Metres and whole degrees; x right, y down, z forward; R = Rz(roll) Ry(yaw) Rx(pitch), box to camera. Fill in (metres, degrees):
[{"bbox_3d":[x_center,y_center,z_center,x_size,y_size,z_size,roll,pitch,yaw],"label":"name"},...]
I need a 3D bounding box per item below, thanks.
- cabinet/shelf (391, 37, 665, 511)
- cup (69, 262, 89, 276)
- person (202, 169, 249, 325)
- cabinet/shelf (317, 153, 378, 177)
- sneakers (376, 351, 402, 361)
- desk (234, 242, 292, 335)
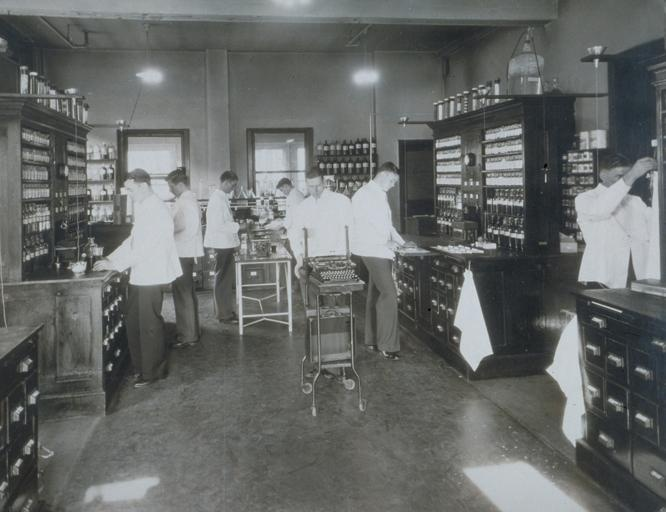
[{"bbox_3d":[1.942,-0.361,5.904,1.608,3.094,4.554,-4,14,-12],"label":"cabinet/shelf"},{"bbox_3d":[-2.284,0.111,5.594,0.131,0.125,0.153,0,-1,-4],"label":"cup"},{"bbox_3d":[-1.356,-0.099,7.799,0.432,1.862,0.417,-8,14,-31],"label":"person"},{"bbox_3d":[0.234,-1.514,10.418,0.736,0.321,0.257,0,2,-2],"label":"cabinet/shelf"},{"bbox_3d":[0.575,1.027,6.474,0.178,0.074,0.095,0,6,34],"label":"sneakers"},{"bbox_3d":[-0.977,0.385,8.574,0.652,1.038,1.921,-3,8,-10],"label":"desk"}]
